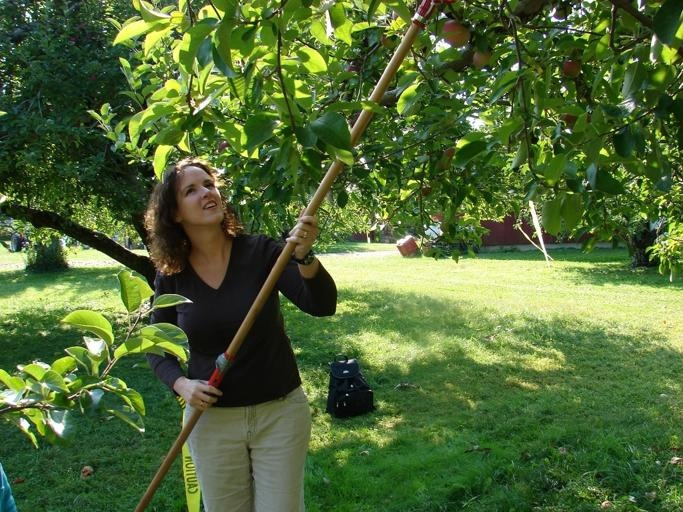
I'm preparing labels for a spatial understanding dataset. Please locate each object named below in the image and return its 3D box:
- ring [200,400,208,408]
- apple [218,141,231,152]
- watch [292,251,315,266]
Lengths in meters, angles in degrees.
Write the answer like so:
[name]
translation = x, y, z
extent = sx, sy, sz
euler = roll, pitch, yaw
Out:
[ring]
translation = -0.619, 0.668, 2.300
extent = 0.034, 0.034, 0.011
euler = -3, 4, -10
[apple]
translation = -0.705, -0.664, 3.064
extent = 0.051, 0.070, 0.107
euler = -1, -1, -21
[watch]
translation = -0.181, 0.020, 2.343
extent = 0.075, 0.033, 0.079
euler = 1, 22, 38
